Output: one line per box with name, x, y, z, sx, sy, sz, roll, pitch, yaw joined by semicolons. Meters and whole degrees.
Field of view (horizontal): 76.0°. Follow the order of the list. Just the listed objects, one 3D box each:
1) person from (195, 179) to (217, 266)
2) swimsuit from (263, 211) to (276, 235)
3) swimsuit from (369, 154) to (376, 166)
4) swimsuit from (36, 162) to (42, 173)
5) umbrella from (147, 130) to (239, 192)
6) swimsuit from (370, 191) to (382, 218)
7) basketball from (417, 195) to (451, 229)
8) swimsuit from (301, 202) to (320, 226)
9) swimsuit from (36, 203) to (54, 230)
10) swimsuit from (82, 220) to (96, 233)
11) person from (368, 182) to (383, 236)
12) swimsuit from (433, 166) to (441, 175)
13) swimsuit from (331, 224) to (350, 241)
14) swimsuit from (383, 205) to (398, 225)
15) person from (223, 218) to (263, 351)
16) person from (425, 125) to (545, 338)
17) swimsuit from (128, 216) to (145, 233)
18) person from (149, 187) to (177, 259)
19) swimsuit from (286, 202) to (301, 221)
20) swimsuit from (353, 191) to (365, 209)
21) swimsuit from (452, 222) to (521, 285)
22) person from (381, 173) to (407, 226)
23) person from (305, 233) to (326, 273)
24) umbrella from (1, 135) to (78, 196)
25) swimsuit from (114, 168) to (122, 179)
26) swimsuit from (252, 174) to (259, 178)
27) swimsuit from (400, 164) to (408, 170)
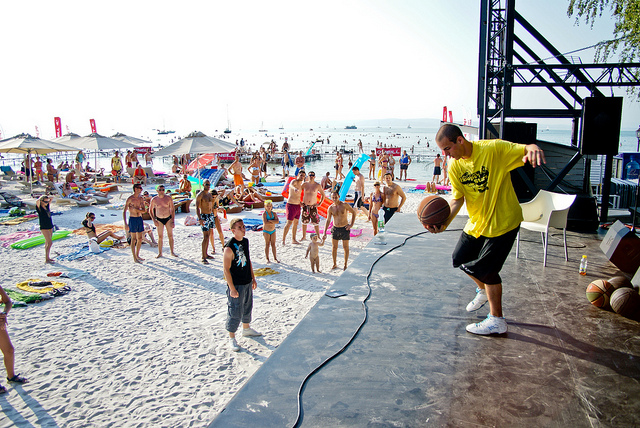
person;-3.087;0.213;11.107;0.423;2.236;0.834;-5;12;-9
swimsuit;-1.335;0.256;10.864;0.220;0.606;0.234;-10;14;-32
swimsuit;3.392;-3.390;26.165;0.140;0.686;0.446;1;12;19
swimsuit;-16.224;-2.638;23.537;0.450;0.606;0.145;3;10;-1
umbrella;-5.293;-2.263;17.961;2.757;1.901;2.697;-3;7;-7
swimsuit;1.624;-0.225;11.790;0.393;0.521;0.500;-2;-20;5
basketball;1.556;-0.025;5.571;0.431;0.409;0.228;1;12;18
swimsuit;-0.309;-0.007;12.411;0.660;0.690;0.368;3;13;8
swimsuit;-7.341;0.072;10.889;0.272;0.702;0.402;-11;14;-35
swimsuit;-7.002;0.399;12.346;0.186;0.312;0.327;-32;26;-9
person;1.662;-0.116;11.970;0.305;1.428;0.484;-3;12;0
swimsuit;6.500;-2.344;22.650;0.549;0.621;0.353;1;3;17
swimsuit;0.502;0.515;10.450;0.508;0.426;0.305;1;22;3
swimsuit;1.985;0.040;11.987;0.511;0.697;0.391;1;11;9
person;-1.456;1.252;7.298;0.477;2.332;0.598;0;12;15
person;2.082;0.215;5.190;1.141;2.629;0.560;3;13;26
swimsuit;-4.958;0.286;10.983;0.435;0.391;0.249;2;17;3
person;-4.406;0.205;11.487;0.616;1.963;0.793;-8;13;-23
swimsuit;-0.802;-0.128;12.579;0.612;0.556;0.423;3;30;-1
swimsuit;1.483;-0.516;15.363;0.349;0.772;0.947;-2;11;5
swimsuit;2.243;0.561;5.487;0.566;0.963;0.776;39;-18;-26
person;2.072;-0.436;11.665;0.680;1.497;1.386;-1;11;10
person;-0.184;0.912;10.613;0.374;1.084;1.413;-4;11;-4
umbrella;-13.588;-2.289;19.486;2.381;2.869;4.952;-12;14;-37
swimsuit;-11.972;-2.387;24.198;0.531;0.700;0.258;8;6;44
swimsuit;-3.492;-2.022;22.097;0.305;0.163;0.099;2;9;10
swimsuit;5.421;-2.921;26.363;0.465;0.406;0.267;3;26;9
